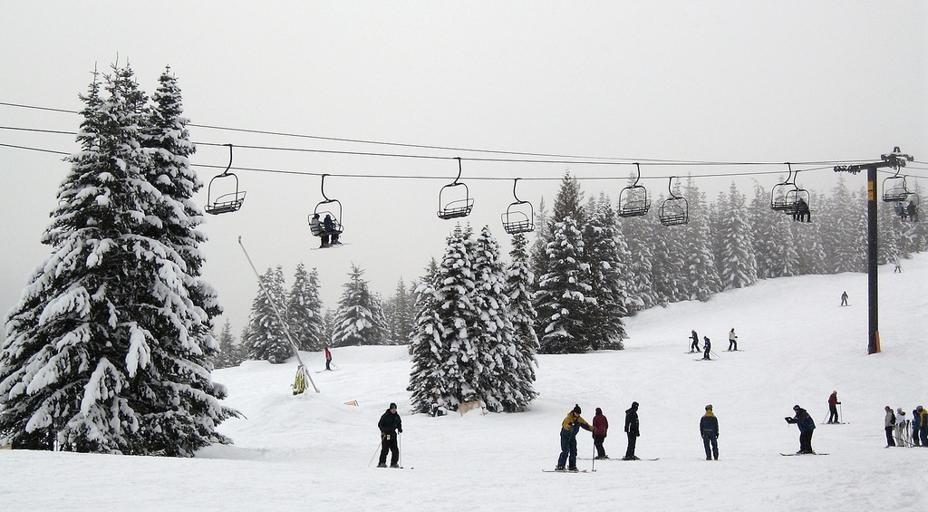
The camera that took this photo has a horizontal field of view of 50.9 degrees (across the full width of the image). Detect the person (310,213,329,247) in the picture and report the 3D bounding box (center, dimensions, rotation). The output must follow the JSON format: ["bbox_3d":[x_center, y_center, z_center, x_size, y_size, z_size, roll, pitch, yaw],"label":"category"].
[{"bbox_3d":[-8.566,-1.484,57.541,1.099,1.965,0.735,-1,-6,-7],"label":"person"}]

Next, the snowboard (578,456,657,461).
[{"bbox_3d":[8.360,11.270,54.057,5.347,0.214,0.534,-1,-9,0],"label":"snowboard"}]

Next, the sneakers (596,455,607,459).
[{"bbox_3d":[7.455,11.105,53.637,0.636,0.242,0.217,-2,1,5],"label":"sneakers"}]

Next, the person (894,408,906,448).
[{"bbox_3d":[24.846,9.788,55.757,0.645,1.969,0.868,-5,-7,22],"label":"person"}]
